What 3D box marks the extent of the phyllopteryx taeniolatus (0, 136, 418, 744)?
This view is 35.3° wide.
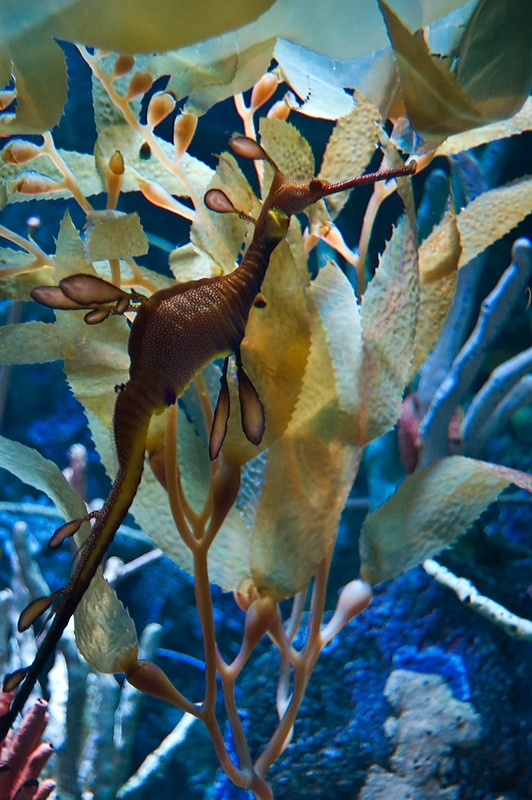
[{"bbox_3d":[-0.041,-0.026,0.502,0.123,0.111,0.447,19,69,29],"label":"phyllopteryx taeniolatus"}]
